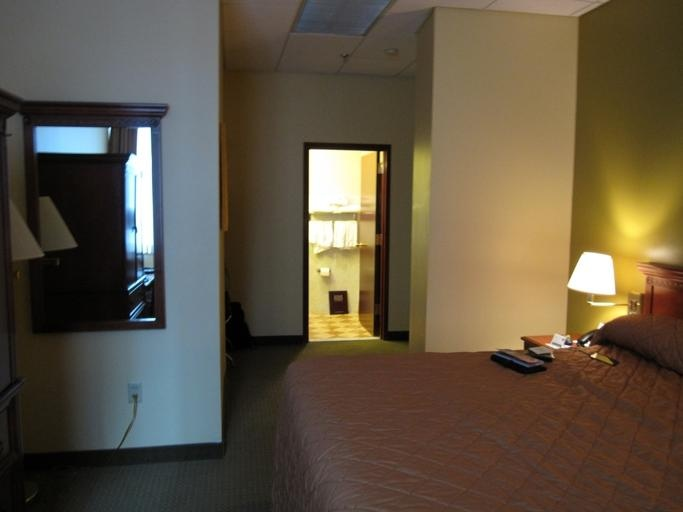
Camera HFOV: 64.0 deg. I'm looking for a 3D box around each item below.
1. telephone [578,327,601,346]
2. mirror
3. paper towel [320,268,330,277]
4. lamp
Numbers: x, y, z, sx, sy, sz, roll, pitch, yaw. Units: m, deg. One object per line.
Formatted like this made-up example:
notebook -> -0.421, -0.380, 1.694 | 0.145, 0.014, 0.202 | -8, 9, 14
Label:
telephone -> 1.654, 0.550, 3.660 | 0.143, 0.043, 0.106 | -24, 5, -13
mirror -> -1.517, -0.235, 3.414 | 0.828, 1.405, 0.223 | -2, 14, -6
paper towel -> -0.222, 0.223, 7.316 | 0.104, 0.119, 0.027 | -4, -7, 2
lamp -> 1.847, 0.225, 3.846 | 0.463, 0.426, 0.332 | 9, -2, 7
